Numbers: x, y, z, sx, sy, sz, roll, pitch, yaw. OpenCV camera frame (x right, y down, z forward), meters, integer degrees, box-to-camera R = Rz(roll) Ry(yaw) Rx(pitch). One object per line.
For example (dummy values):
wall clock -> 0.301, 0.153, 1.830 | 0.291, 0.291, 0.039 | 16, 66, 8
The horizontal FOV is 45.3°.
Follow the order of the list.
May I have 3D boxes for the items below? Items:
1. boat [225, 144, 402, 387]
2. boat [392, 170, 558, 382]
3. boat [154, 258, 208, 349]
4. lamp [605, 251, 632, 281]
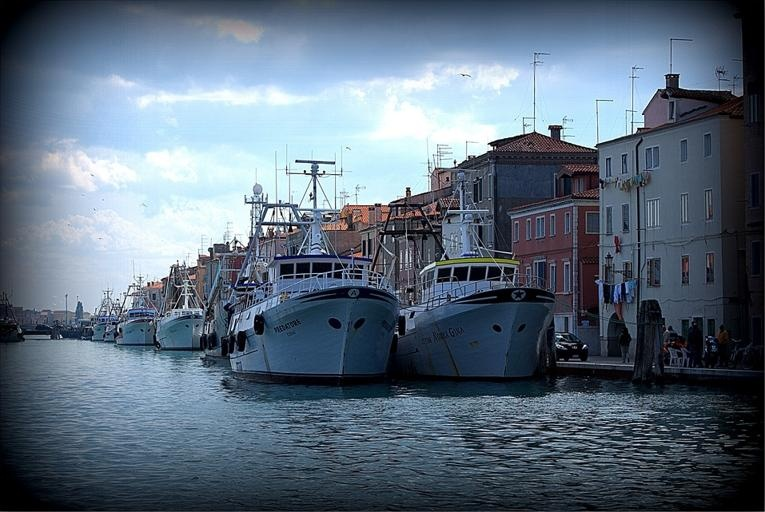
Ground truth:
boat -> -2.961, 2.925, 51.613 | 6.443, 9.435, 17.345 | 1, -6, -15
boat -> 4.565, 1.149, 52.895 | 6.417, 10.374, 18.937 | -2, -3, -11
boat -> -24.494, 6.427, 108.671 | 5.624, 9.835, 22.202 | -2, -6, -21
lamp -> 16.060, 0.821, 62.720 | 0.924, 1.995, 2.257 | -2, 1, -17
